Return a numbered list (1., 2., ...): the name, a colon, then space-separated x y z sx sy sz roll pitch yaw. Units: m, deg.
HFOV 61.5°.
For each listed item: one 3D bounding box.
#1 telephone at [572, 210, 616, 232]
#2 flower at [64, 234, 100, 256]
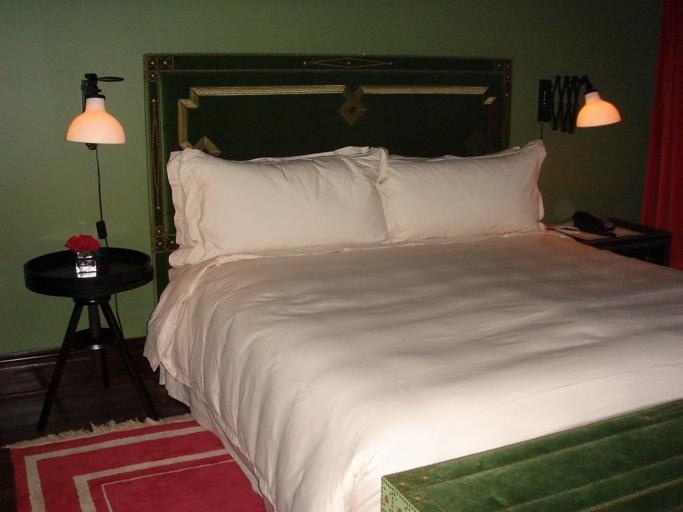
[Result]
1. telephone: 1.582 -0.211 3.614 0.115 0.072 0.210 -2 12 -10
2. flower: -1.296 -0.049 2.858 0.137 0.085 0.137 4 -2 -44
